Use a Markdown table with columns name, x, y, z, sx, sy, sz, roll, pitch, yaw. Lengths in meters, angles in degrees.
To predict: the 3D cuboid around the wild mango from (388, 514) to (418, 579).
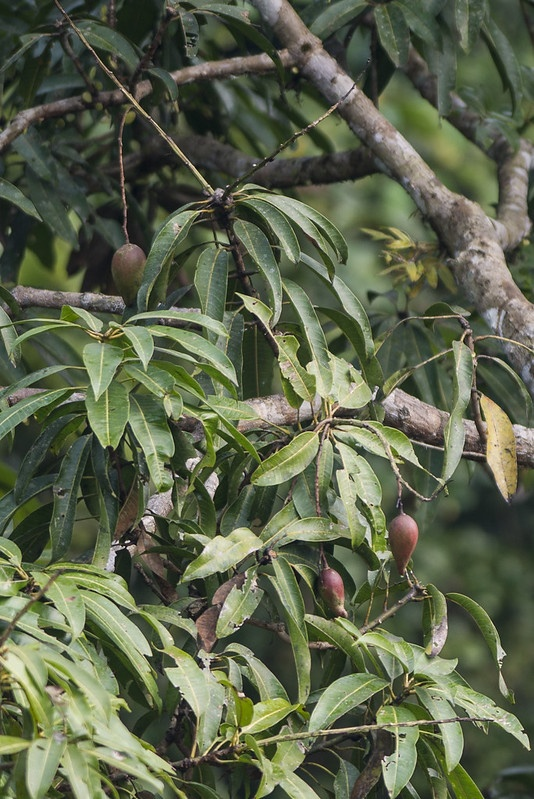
| name | x | y | z | sx | sy | sz | roll | pitch | yaw |
| --- | --- | --- | --- | --- | --- | --- | --- | --- | --- |
| wild mango | 0.257 | 0.273 | 2.722 | 0.077 | 0.078 | 0.119 | 2 | 88 | -20 |

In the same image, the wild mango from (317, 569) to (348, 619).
| name | x | y | z | sx | sy | sz | roll | pitch | yaw |
| --- | --- | --- | --- | --- | --- | --- | --- | --- | --- |
| wild mango | 0.123 | 0.360 | 2.691 | 0.048 | 0.047 | 0.105 | -15 | 82 | -19 |
